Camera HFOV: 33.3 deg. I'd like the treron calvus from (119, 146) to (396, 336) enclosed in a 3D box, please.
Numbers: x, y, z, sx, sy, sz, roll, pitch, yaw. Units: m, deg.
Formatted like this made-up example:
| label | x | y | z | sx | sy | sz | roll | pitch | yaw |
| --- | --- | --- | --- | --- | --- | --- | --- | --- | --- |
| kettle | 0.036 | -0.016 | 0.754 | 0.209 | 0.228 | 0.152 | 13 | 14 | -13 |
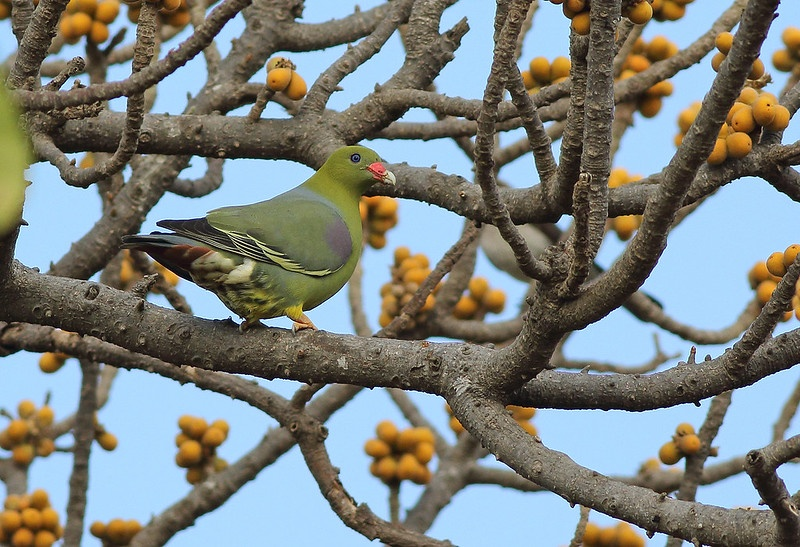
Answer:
| label | x | y | z | sx | sy | sz | roll | pitch | yaw |
| --- | --- | --- | --- | --- | --- | --- | --- | --- | --- |
| treron calvus | -0.672 | -0.168 | 7.609 | 1.255 | 1.390 | 0.789 | 4 | -62 | 0 |
